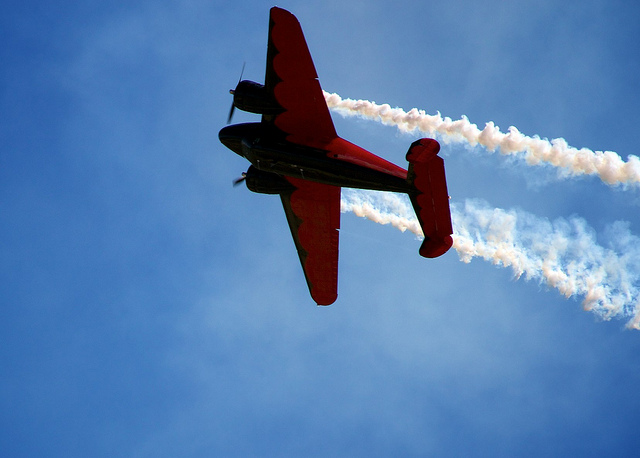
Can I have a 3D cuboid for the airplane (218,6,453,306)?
[{"bbox_3d":[0.243,-2.475,40.157,7.289,6.040,9.528,-29,-53,14],"label":"airplane"}]
